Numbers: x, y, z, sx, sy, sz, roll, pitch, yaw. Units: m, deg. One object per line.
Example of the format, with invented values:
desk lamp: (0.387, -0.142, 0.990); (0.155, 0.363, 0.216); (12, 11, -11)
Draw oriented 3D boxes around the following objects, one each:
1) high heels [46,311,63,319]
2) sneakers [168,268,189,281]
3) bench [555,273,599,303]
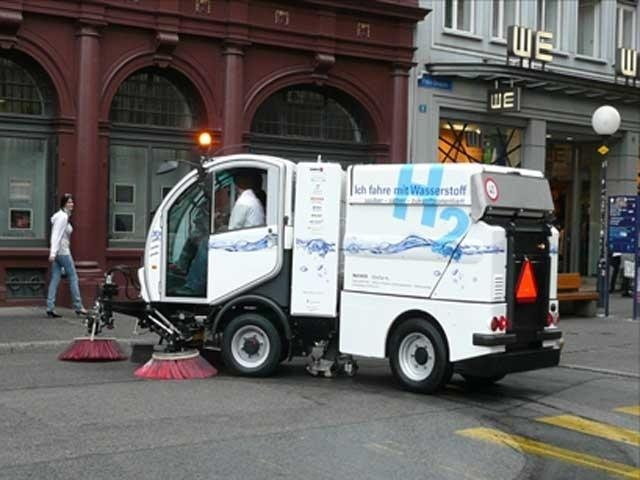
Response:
high heels: (-5.060, 1.398, 13.562); (0.116, 0.210, 0.360); (3, 2, 28)
sneakers: (-2.046, 0.480, 10.179); (0.199, 0.154, 0.156); (16, 8, -11)
bench: (5.995, 1.143, 16.847); (0.863, 0.638, 0.867); (-1, 2, -16)
